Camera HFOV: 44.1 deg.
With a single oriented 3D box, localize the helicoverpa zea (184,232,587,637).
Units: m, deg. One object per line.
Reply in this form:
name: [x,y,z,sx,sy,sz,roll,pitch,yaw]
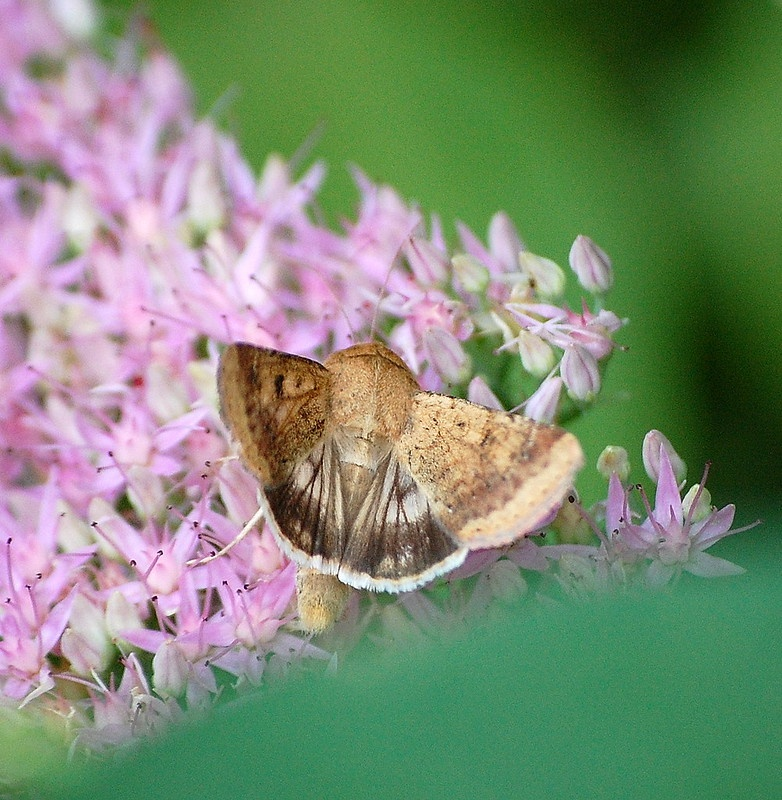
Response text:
helicoverpa zea: [-0.006,0.061,0.703,0.243,0.231,0.132,13,-13,4]
